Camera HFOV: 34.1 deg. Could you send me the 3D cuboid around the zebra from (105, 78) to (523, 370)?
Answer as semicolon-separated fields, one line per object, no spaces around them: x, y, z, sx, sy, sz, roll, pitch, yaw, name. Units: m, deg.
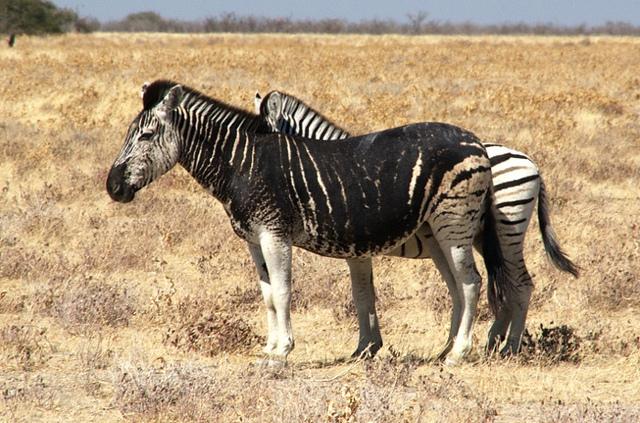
0.011;0.156;20.884;8.138;6.433;2.642;0;13;-2;zebra
